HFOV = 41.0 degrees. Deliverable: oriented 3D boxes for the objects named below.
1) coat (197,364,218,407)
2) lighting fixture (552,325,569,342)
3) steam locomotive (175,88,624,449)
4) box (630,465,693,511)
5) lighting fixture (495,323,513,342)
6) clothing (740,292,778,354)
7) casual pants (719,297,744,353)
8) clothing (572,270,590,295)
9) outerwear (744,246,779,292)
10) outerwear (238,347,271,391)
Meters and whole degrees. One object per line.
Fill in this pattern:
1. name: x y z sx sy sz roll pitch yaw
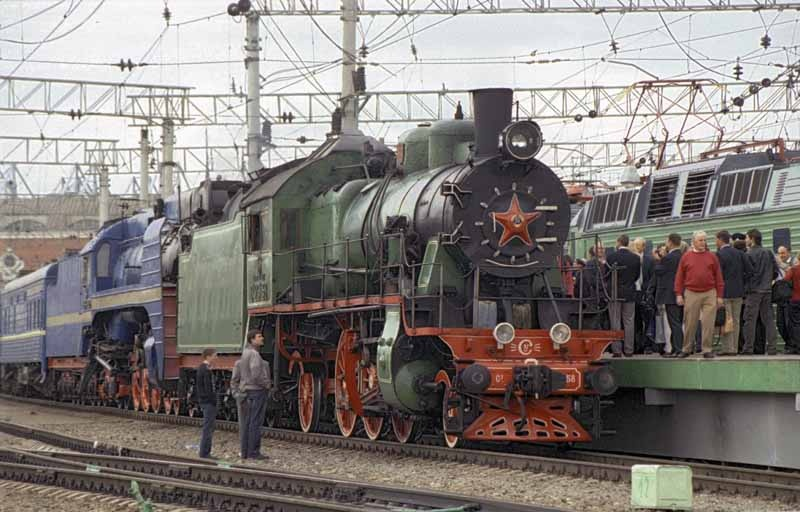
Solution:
1. coat: -4.144 2.767 23.165 0.380 0.904 0.371 0 -3 -11
2. lighting fixture: 3.317 1.607 22.165 0.422 0.423 0.207 -1 -3 4
3. steam locomotive: -0.325 0.404 25.214 3.230 7.680 10.878 2 -4 -40
4. box: 4.544 4.037 18.714 0.917 0.752 0.911 1 -4 2
5. lighting fixture: 2.172 1.592 21.974 0.535 0.419 0.177 1 -4 -30
6. clothing: 7.597 1.409 22.773 0.670 1.307 0.523 -2 -3 23
7. casual pants: 7.005 1.489 22.669 0.465 1.183 0.388 -1 -3 3
8. clothing: 4.009 0.589 23.508 0.376 0.311 0.613 4 -35 -1
9. outerwear: 7.623 0.313 22.689 1.013 1.024 0.641 0 1 1
10. outerwear: -3.155 2.433 23.189 0.721 0.960 0.383 -1 -3 6
